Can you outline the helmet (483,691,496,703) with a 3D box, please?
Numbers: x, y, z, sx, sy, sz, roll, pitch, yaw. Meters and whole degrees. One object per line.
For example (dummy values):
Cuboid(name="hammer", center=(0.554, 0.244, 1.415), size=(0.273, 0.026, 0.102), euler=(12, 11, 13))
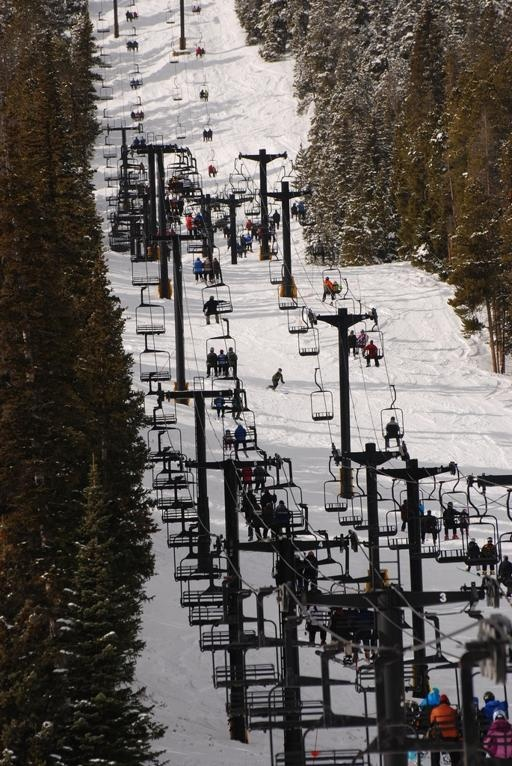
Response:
Cuboid(name="helmet", center=(7.183, 9.977, 72.077), size=(0.283, 0.453, 0.430), euler=(1, 5, 6))
